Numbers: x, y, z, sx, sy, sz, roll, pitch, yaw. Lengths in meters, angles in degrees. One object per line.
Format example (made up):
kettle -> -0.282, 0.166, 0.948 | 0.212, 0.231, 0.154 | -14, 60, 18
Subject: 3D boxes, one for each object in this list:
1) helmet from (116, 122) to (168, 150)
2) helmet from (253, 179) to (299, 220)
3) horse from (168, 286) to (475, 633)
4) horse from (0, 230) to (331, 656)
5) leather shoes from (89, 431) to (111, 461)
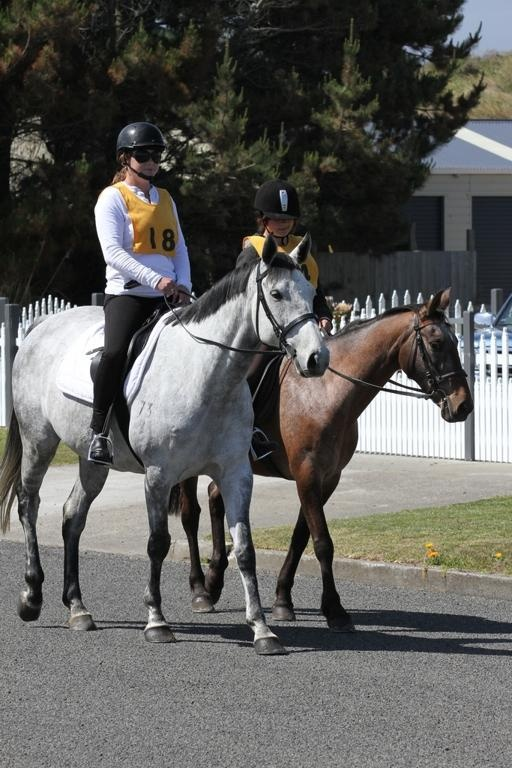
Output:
helmet -> -0.657, -1.399, 6.581 | 0.267, 0.183, 0.298 | 0, 5, -7
helmet -> 0.119, -1.085, 6.916 | 0.209, 0.157, 0.273 | -6, 24, -20
horse -> 0.246, 0.524, 7.096 | 2.361, 1.939, 0.613 | -7, -15, 43
horse -> -0.659, 0.312, 6.393 | 0.693, 2.210, 2.696 | -4, 7, -43
leather shoes -> -0.851, 0.367, 6.360 | 0.121, 0.153, 0.157 | 2, -9, -6
